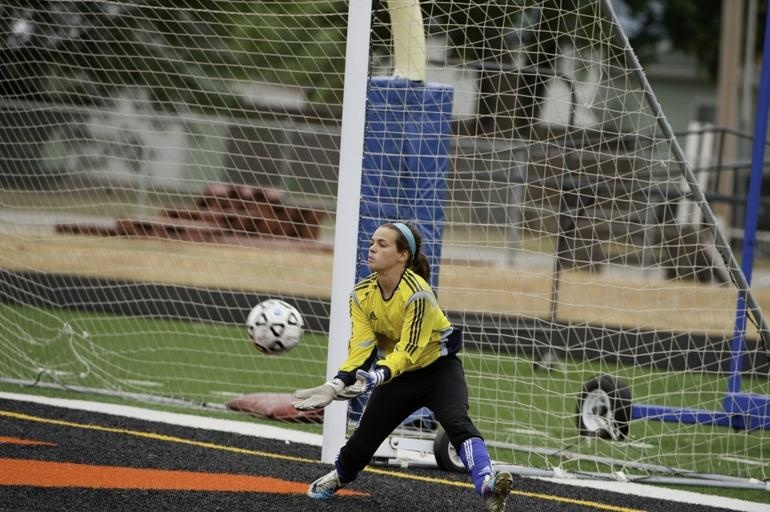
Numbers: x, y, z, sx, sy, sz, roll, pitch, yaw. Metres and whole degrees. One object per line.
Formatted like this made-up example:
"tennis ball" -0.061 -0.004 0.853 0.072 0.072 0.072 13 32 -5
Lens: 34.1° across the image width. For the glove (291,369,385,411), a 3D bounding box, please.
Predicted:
"glove" -0.511 1.588 14.846 1.123 0.563 0.261 4 2 -5
